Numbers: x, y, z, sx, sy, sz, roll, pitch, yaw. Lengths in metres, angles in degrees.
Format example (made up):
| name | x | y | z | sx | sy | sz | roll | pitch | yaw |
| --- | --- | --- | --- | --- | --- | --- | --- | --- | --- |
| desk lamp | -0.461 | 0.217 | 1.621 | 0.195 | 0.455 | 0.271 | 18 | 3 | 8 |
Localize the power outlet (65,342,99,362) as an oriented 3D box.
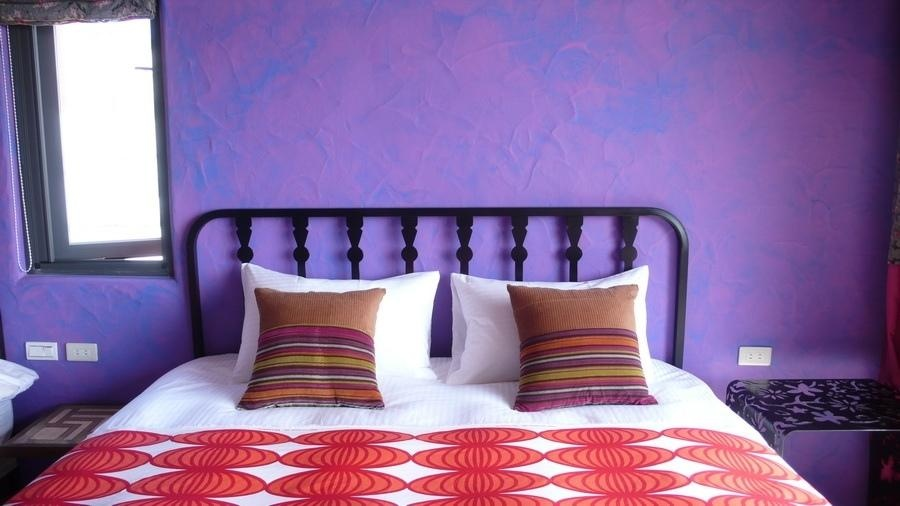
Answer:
| name | x | y | z | sx | sy | sz | roll | pitch | yaw |
| --- | --- | --- | --- | --- | --- | --- | --- | --- | --- |
| power outlet | -2.337 | 0.628 | 3.915 | 0.137 | 0.088 | 0.017 | 1 | 14 | -1 |
